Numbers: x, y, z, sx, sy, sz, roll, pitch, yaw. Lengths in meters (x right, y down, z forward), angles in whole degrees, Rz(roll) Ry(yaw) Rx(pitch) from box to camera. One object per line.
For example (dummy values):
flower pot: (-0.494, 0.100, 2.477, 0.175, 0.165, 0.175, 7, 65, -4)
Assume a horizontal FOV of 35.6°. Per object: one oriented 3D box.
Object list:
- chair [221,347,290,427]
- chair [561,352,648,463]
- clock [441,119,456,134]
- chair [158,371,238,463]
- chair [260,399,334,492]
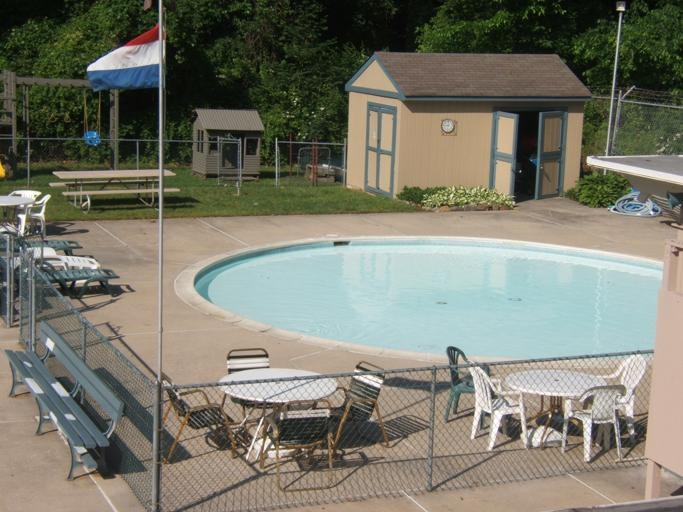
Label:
chair: (-1.651, 1.949, 17.541, 0.943, 1.505, 1.040, -3, 14, -14)
chair: (4.091, 2.312, 16.657, 1.032, 1.498, 1.696, 5, 11, 29)
clock: (3.205, -3.946, 32.261, 0.414, 0.421, 0.095, 1, 4, -9)
chair: (-2.349, 2.666, 16.242, 1.327, 1.535, 1.189, -4, 12, -17)
chair: (-0.682, 2.864, 15.878, 1.083, 1.752, 1.154, -1, 34, -6)
